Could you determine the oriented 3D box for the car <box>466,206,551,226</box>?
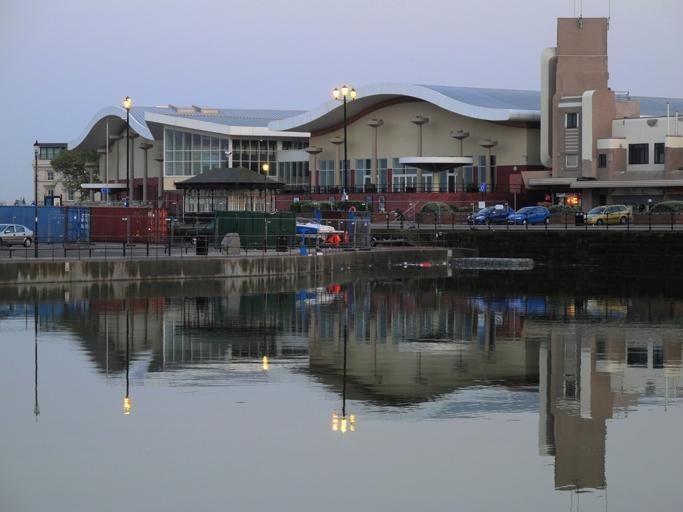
[{"bbox_3d":[10.927,-2.696,101.290,4.820,1.433,3.120,-1,-3,34],"label":"car"}]

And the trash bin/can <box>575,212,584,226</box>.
[{"bbox_3d":[14.873,-2.384,97.991,0.695,0.899,0.662,-1,7,-3],"label":"trash bin/can"}]

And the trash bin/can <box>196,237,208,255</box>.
[{"bbox_3d":[-6.993,-0.557,78.610,0.574,0.934,1.152,1,-2,-6],"label":"trash bin/can"}]

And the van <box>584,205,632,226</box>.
[{"bbox_3d":[16.860,-2.707,99.860,2.643,1.168,1.645,2,-2,-13],"label":"van"}]

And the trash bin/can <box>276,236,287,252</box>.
[{"bbox_3d":[-3.170,-0.727,83.141,0.693,0.824,0.690,-2,3,-33],"label":"trash bin/can"}]
